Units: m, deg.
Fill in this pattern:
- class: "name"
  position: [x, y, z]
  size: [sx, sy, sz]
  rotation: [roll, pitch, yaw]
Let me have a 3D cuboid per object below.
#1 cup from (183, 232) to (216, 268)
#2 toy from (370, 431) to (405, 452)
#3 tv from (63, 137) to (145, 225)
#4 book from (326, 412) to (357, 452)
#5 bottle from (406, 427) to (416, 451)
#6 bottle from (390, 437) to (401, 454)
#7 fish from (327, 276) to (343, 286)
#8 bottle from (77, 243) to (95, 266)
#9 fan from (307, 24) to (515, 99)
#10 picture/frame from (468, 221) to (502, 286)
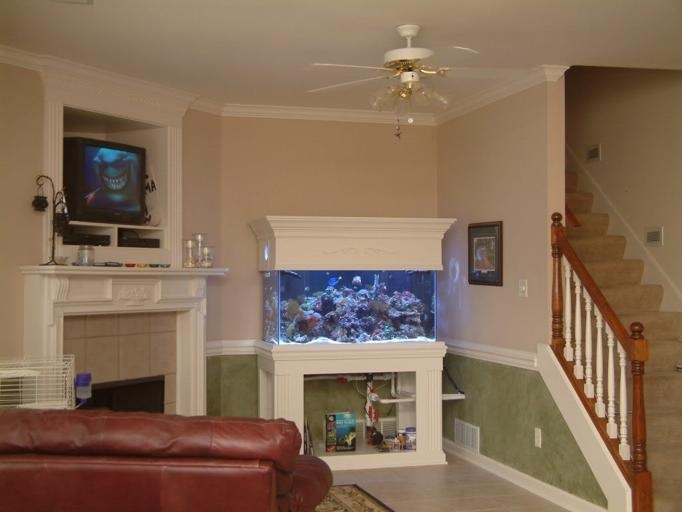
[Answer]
- class: "cup"
  position: [-1.348, -0.045, 6.103]
  size: [0.312, 0.332, 0.306]
  rotation: [1, -3, 0]
- class: "toy"
  position: [0.459, 1.823, 6.262]
  size: [0.205, 0.134, 0.206]
  rotation: [4, -6, -30]
- class: "tv"
  position: [-2.225, -0.650, 5.829]
  size: [0.456, 0.799, 0.845]
  rotation: [-2, 1, 24]
- class: "book"
  position: [-0.005, 1.702, 6.155]
  size: [0.327, 0.387, 0.134]
  rotation: [2, -5, -18]
- class: "bottle"
  position: [0.675, 1.766, 6.204]
  size: [0.088, 0.184, 0.106]
  rotation: [1, 4, 1]
- class: "bottle"
  position: [0.536, 1.836, 6.235]
  size: [0.090, 0.176, 0.092]
  rotation: [0, -4, 0]
- class: "fish"
  position: [-0.061, 0.242, 6.042]
  size: [0.099, 0.075, 0.049]
  rotation: [-35, -15, -17]
- class: "bottle"
  position: [-2.053, -0.011, 5.189]
  size: [0.146, 0.172, 0.148]
  rotation: [-2, -5, 40]
- class: "fan"
  position: [0.460, -1.285, 4.378]
  size: [0.841, 0.359, 0.862]
  rotation: [3, -9, -16]
- class: "picture/frame"
  position: [1.383, -0.020, 6.111]
  size: [0.061, 0.656, 0.597]
  rotation: [1, -2, -23]
